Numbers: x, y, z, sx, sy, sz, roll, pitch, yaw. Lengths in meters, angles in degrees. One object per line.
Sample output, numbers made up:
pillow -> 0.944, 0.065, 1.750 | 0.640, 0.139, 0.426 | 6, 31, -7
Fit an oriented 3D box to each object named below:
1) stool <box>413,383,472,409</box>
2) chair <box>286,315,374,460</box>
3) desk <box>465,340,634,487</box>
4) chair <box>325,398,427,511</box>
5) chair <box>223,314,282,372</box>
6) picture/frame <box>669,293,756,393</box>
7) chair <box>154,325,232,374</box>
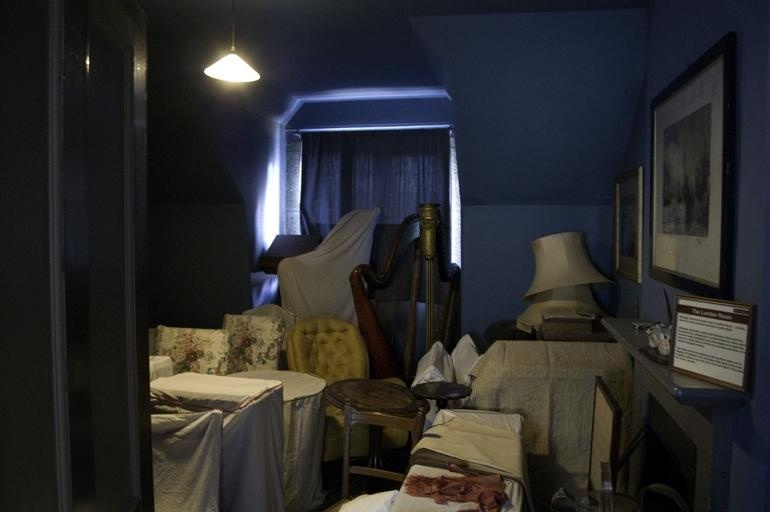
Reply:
stool -> 0.276, 0.655, 2.918 | 0.168, 0.127, 0.171 | -1, 0, -3
chair -> -0.351, 0.817, 3.940 | 0.501, 0.725, 0.632 | -7, 29, -8
desk -> 0.803, 0.682, 2.999 | 0.706, 0.699, 0.599 | 1, -5, 5
chair -> 0.004, 0.879, 3.080 | 0.524, 0.713, 0.537 | 2, 0, 6
chair -> -0.886, 0.657, 4.161 | 0.359, 0.415, 0.381 | 4, -22, -15
picture/frame -> 1.007, 0.274, 1.837 | 0.030, 0.316, 0.306 | 11, -5, -27
chair -> -1.268, 0.607, 3.889 | 0.549, 0.272, 0.145 | 2, -2, 7
